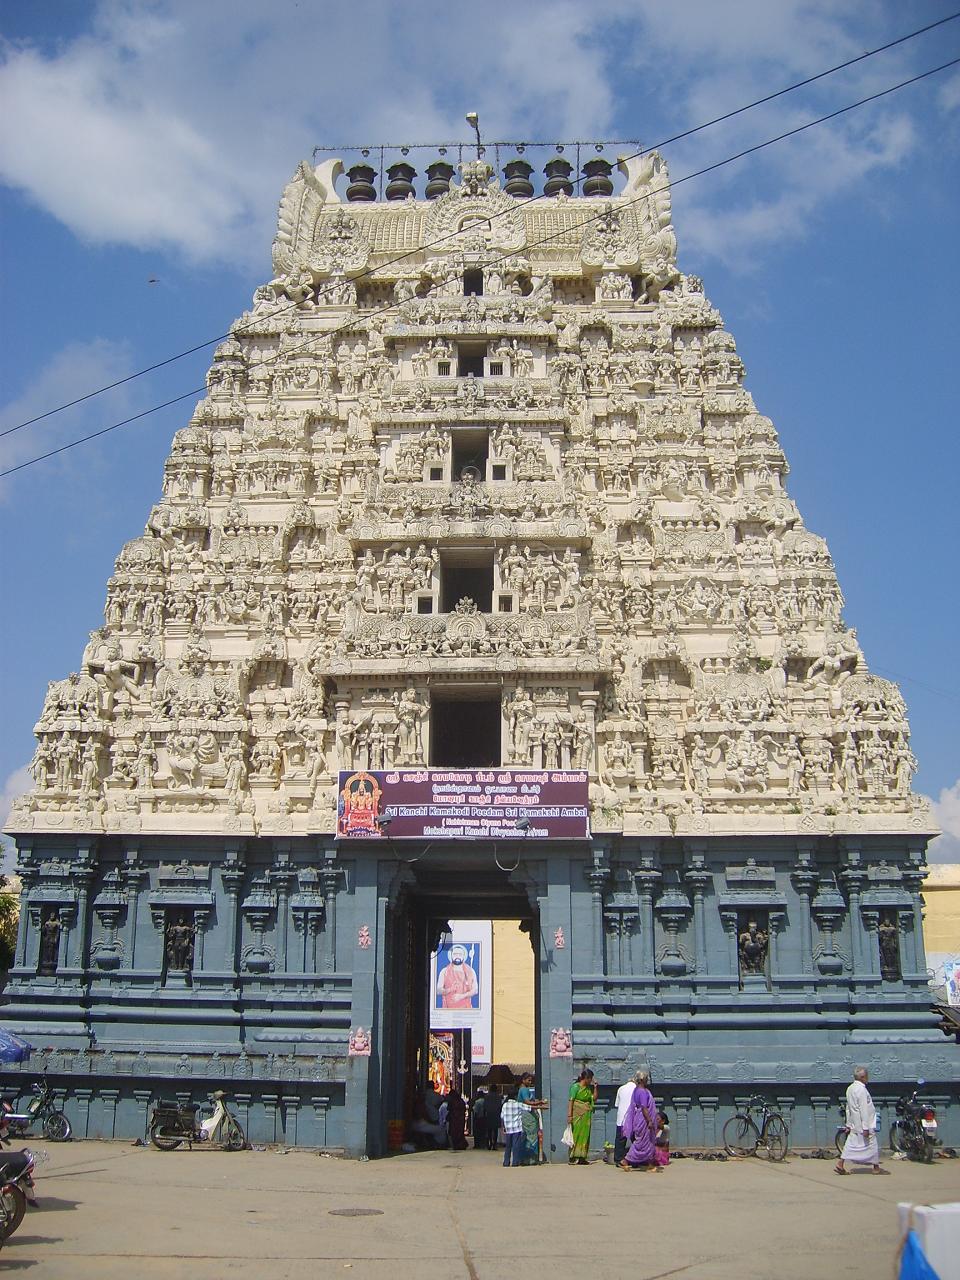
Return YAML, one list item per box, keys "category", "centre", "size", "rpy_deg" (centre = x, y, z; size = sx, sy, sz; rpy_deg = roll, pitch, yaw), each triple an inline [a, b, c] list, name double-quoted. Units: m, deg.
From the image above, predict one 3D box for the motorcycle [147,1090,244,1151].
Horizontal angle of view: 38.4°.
- category: "motorcycle"
  centre: [-4.358, 7.421, 21.268]
  size: [1.528, 0.872, 0.691]
  rpy_deg: [3, -34, -12]

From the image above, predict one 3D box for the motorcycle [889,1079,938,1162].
- category: "motorcycle"
  centre: [6.588, 7.195, 20.307]
  size: [0.535, 0.716, 1.207]
  rpy_deg: [4, -10, 6]

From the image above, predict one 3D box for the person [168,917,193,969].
- category: "person"
  centre: [-5.323, 5.389, 24.426]
  size: [0.526, 0.918, 0.122]
  rpy_deg: [-7, -19, 19]

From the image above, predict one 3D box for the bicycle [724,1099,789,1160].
- category: "bicycle"
  centre: [4.204, 7.447, 20.968]
  size: [1.451, 0.821, 0.624]
  rpy_deg: [-8, -15, 44]

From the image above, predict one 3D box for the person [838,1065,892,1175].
- category: "person"
  centre: [5.213, 6.546, 18.902]
  size: [0.577, 1.333, 2.547]
  rpy_deg: [-6, -18, 14]

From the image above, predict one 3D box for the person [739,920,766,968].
- category: "person"
  centre: [4.786, 5.294, 23.858]
  size: [0.522, 0.871, 0.146]
  rpy_deg: [-2, -18, 4]

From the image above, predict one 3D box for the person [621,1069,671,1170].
- category: "person"
  centre: [2.258, 6.539, 18.756]
  size: [0.564, 1.251, 1.344]
  rpy_deg: [-3, -17, 6]

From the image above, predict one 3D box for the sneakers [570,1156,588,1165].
- category: "sneakers"
  centre: [1.501, 7.641, 20.224]
  size: [0.187, 0.057, 0.131]
  rpy_deg: [5, -17, -3]
